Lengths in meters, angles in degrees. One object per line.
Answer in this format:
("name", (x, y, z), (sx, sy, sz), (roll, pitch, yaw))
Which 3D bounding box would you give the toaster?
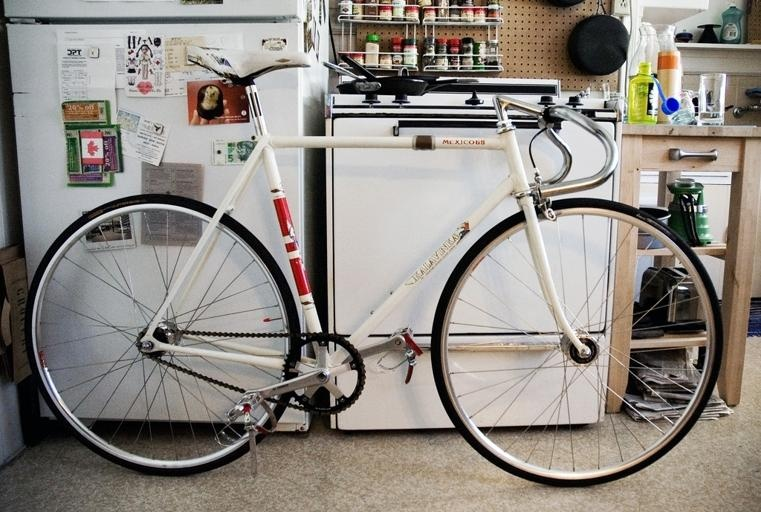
("toaster", (1.298, 0.202, 2.887), (0.144, 0.229, 0.255), (-2, 12, -2))

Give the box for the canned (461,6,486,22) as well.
("canned", (0.484, -1.252, 3.350), (0.090, 0.057, 0.092), (0, 12, -5))

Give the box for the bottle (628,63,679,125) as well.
("bottle", (1.179, -0.702, 2.808), (0.179, 0.271, 0.172), (1, 20, 0))

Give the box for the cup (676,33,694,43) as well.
("cup", (2.058, -1.471, 4.360), (0.085, 0.049, 0.087), (0, 11, 0))

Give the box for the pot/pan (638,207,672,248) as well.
("pot/pan", (1.093, -0.110, 2.583), (0.131, 0.103, 0.139), (-2, 21, 2))

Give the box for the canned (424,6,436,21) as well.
("canned", (0.255, -1.251, 3.355), (0.071, 0.071, 0.072), (-3, 12, -9))

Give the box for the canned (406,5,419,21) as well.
("canned", (0.162, -1.251, 3.332), (0.069, 0.069, 0.071), (8, 23, 17))

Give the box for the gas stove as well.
("gas stove", (0.391, -0.610, 2.621), (1.143, 0.112, 0.395), (2, 9, 10))

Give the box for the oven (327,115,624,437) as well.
("oven", (0.226, 0.119, 3.116), (1.441, 1.567, 1.026), (0, 8, 0))
